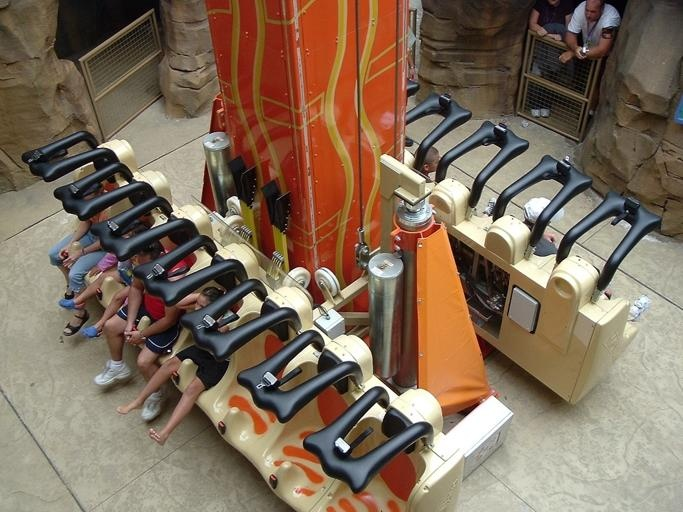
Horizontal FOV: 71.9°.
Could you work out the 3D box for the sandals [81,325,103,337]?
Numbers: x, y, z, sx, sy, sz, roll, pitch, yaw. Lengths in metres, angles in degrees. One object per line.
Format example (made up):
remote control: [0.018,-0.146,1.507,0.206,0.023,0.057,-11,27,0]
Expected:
sandals: [-2.007,0.604,3.755,0.074,0.053,0.139,31,38,22]

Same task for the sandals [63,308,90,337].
sandals: [-2.254,0.572,3.963,0.084,0.084,0.212,25,73,10]
